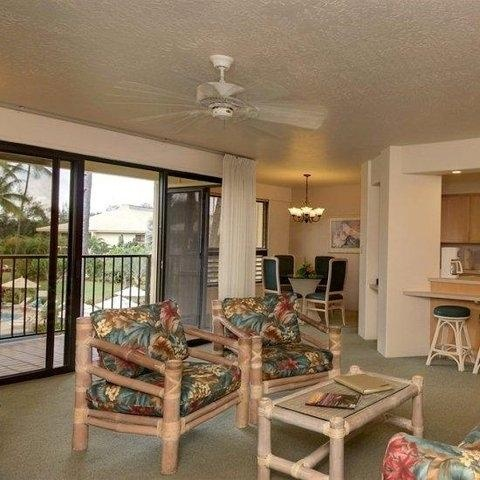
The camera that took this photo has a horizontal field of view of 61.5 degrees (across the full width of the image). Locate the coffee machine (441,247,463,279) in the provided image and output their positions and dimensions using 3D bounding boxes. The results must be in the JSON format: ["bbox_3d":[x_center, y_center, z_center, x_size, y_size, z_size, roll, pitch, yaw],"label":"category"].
[{"bbox_3d":[2.535,0.280,4.846,0.204,0.367,0.297,0,-2,25],"label":"coffee machine"}]

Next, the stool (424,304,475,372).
[{"bbox_3d":[2.383,1.079,4.566,0.460,0.670,0.814,0,-3,29],"label":"stool"}]

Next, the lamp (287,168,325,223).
[{"bbox_3d":[1.273,-0.776,7.848,0.987,1.008,0.782,1,-6,-2],"label":"lamp"}]

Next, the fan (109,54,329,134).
[{"bbox_3d":[-0.052,-0.864,2.653,0.687,0.219,0.671,-4,-6,36],"label":"fan"}]
